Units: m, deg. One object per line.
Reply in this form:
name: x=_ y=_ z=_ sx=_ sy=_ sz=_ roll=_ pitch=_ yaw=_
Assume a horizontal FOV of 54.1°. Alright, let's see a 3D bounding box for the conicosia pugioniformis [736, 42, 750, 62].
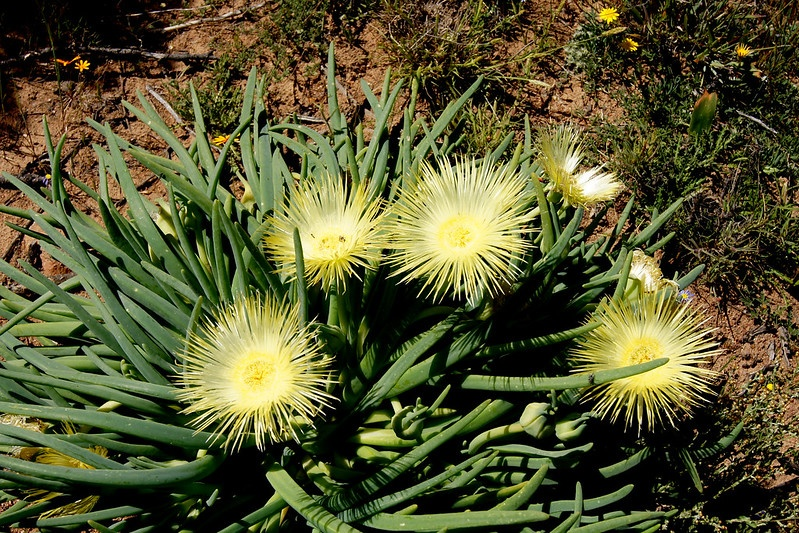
conicosia pugioniformis: x=1.748 y=-1.092 z=3.985 sx=0.079 sy=0.067 sz=0.106 roll=19 pitch=36 yaw=7
